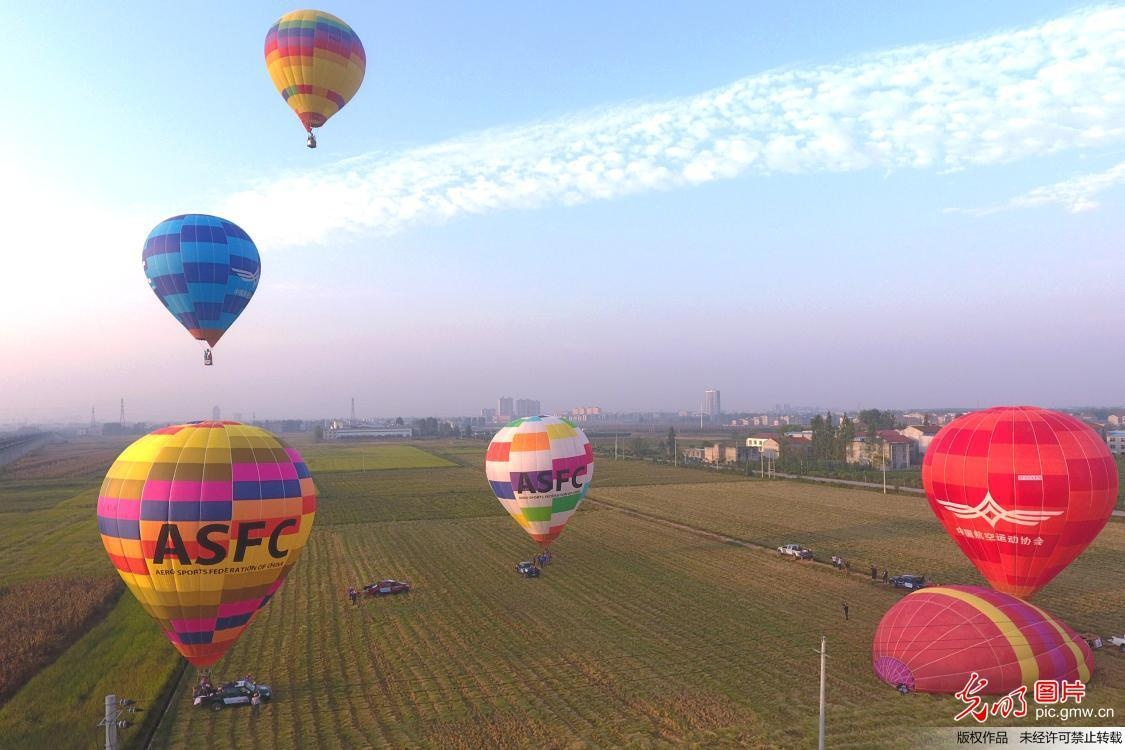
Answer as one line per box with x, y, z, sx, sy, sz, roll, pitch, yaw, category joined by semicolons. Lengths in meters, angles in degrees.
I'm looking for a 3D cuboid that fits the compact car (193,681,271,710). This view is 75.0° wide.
-11.881;11.638;26.794;2.800;0.901;1.258;-1;-3;-10;compact car

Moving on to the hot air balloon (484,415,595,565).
-0.974;4.758;35.146;6.179;7.596;5.809;-2;-4;-1;hot air balloon
